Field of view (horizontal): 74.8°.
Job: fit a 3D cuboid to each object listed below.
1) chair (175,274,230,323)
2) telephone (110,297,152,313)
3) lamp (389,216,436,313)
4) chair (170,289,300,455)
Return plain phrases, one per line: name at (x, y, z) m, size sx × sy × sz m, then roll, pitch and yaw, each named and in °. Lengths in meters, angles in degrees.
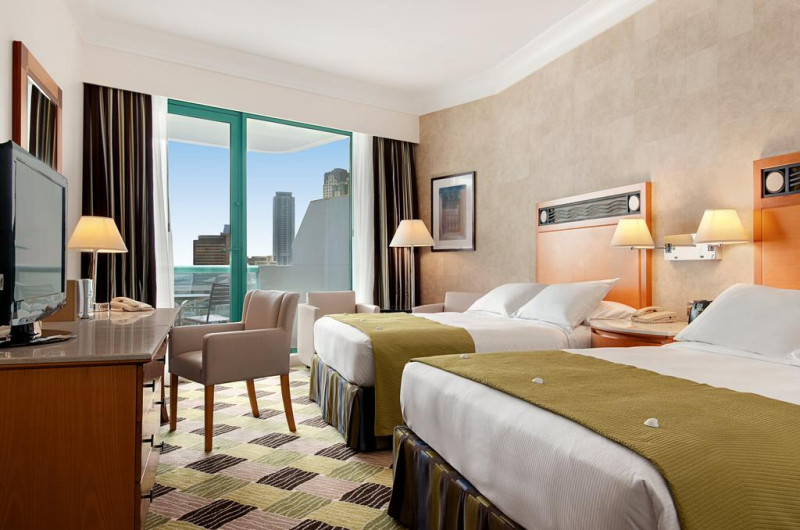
chair at (-2.204, 0.410, 6.097) m, size 0.539 × 0.712 × 0.493 m, roll 0°, pitch -2°, yaw 34°
telephone at (-2.070, 0.316, 4.027) m, size 0.218 × 0.070 × 0.143 m, roll 1°, pitch -2°, yaw -25°
lamp at (0.157, 0.029, 6.640) m, size 0.574 × 1.149 × 0.547 m, roll -4°, pitch 5°, yaw -31°
chair at (-1.262, 0.794, 4.439) m, size 1.175 × 1.497 × 1.069 m, roll 4°, pitch -3°, yaw -42°
